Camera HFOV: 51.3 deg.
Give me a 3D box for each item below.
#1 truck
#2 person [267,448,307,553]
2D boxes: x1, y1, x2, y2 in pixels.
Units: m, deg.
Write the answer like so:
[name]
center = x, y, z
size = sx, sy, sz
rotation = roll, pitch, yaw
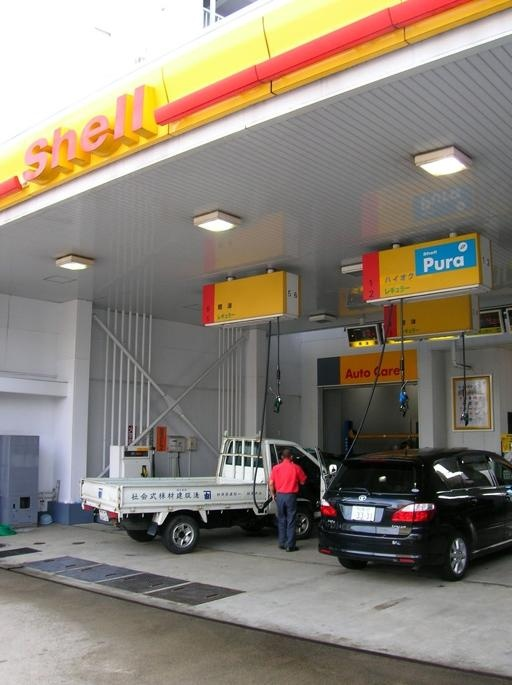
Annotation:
[truck]
center = -0.728, 2.414, 8.614
size = 3.550, 1.540, 2.003
rotation = 2, -6, -33
[person]
center = 0.453, 2.357, 8.073
size = 0.517, 1.481, 0.572
rotation = 0, -14, 1
